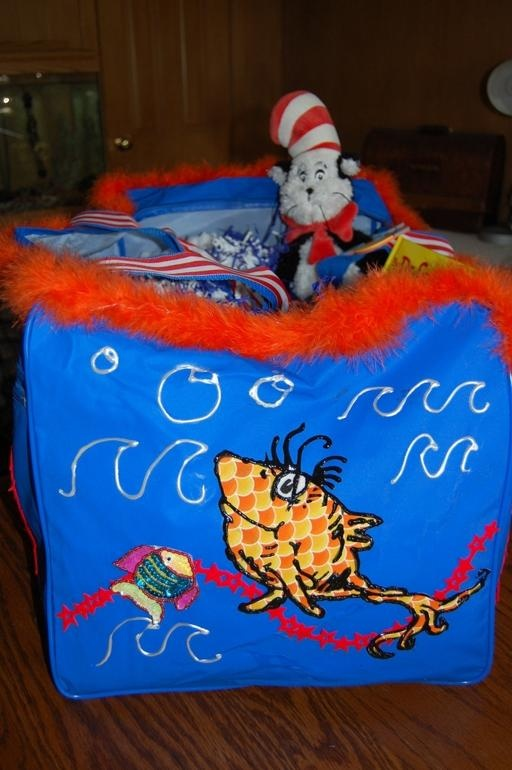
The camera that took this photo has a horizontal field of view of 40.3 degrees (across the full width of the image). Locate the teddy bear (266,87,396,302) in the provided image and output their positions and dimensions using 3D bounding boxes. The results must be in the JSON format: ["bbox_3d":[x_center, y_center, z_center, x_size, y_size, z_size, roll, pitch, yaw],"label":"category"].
[{"bbox_3d":[0.093,-0.295,1.200,0.223,0.419,0.110,-15,42,-10],"label":"teddy bear"}]
